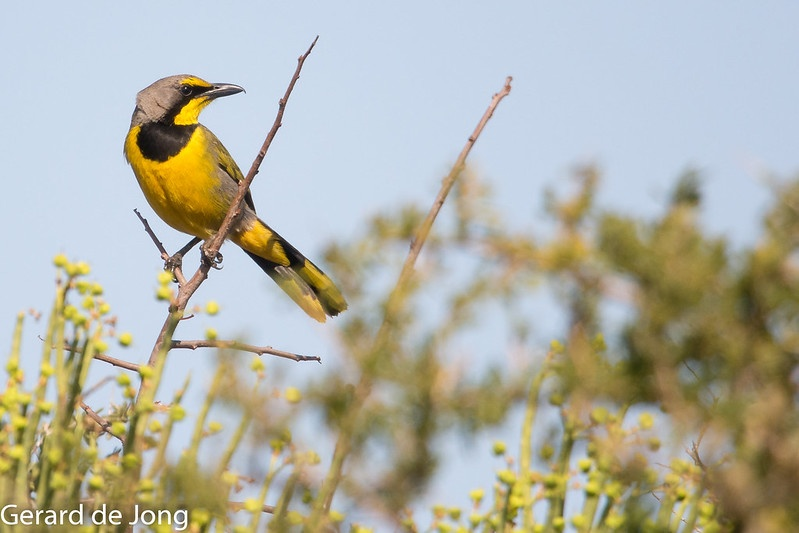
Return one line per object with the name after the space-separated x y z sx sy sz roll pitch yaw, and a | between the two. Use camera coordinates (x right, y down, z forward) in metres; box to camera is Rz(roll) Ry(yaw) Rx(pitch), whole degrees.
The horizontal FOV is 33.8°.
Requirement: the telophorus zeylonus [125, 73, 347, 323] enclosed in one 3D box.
-0.845 -0.372 6.483 0.328 0.865 1.274 -18 -30 33 | telophorus zeylonus
